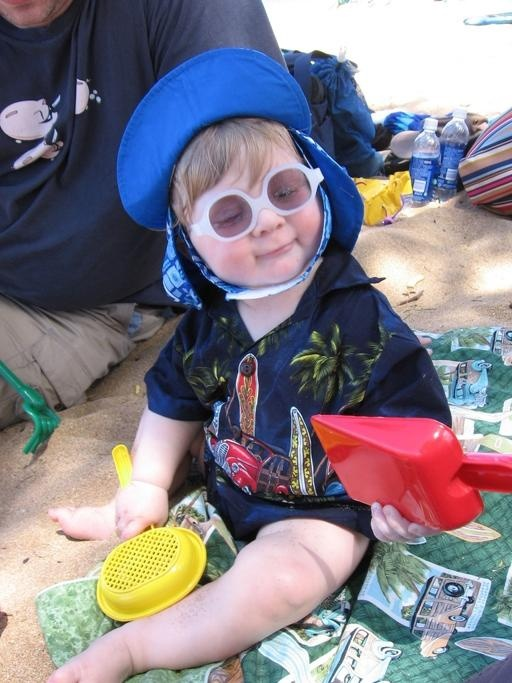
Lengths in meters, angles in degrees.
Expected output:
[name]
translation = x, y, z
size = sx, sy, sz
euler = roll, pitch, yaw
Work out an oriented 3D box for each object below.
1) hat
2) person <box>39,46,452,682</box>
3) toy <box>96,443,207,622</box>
[hat]
translation = -0.008, -0.292, 1.201
size = 0.424, 0.504, 0.169
euler = -23, 30, 14
[person]
translation = -0.096, 0.008, 1.105
size = 0.724, 0.992, 0.671
euler = -12, 27, -15
[toy]
translation = -0.248, 0.364, 1.219
size = 0.222, 0.143, 0.410
euler = -25, 24, -5
